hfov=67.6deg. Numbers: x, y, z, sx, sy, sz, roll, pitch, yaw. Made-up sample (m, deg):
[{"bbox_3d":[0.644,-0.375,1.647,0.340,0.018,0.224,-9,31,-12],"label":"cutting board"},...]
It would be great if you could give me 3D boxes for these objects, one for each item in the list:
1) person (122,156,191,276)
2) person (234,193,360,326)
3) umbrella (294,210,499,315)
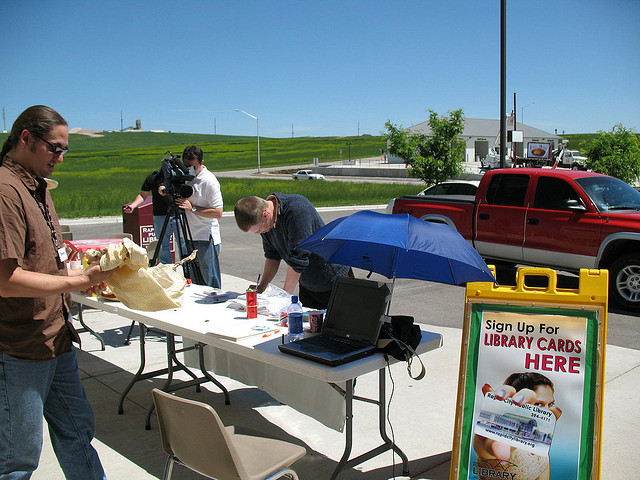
[{"bbox_3d":[-2.506,-0.415,7.472,1.081,2.421,1.184,-2,13,-32],"label":"person"},{"bbox_3d":[-0.125,0.208,4.240,0.890,1.377,0.892,-2,12,-34],"label":"person"},{"bbox_3d":[0.563,0.120,3.648,1.512,0.670,0.965,7,10,31],"label":"umbrella"}]
